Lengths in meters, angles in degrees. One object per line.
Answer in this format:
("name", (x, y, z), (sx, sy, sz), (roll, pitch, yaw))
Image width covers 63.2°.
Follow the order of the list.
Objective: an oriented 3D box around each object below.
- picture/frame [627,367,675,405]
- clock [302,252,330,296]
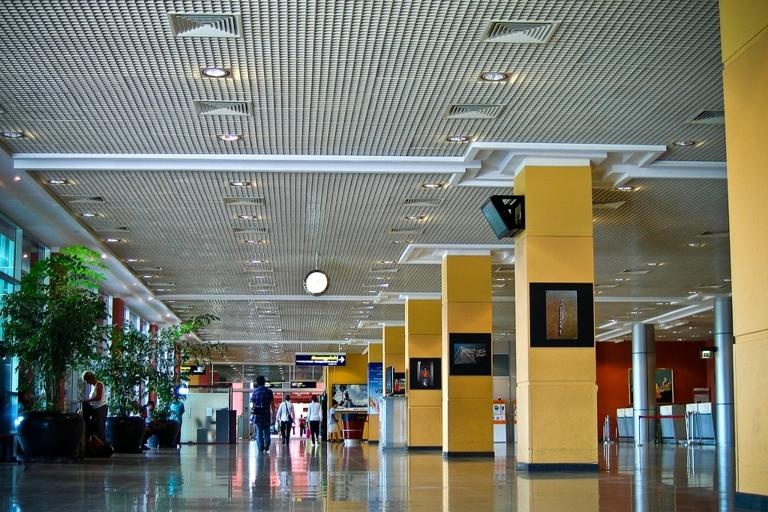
("picture/frame", (15.598, 7.753, 37.100), (3.631, 2.085, 1.301), (9, -19, -32))
("clock", (-2.045, 0.695, 18.930), (0.650, 0.947, 1.104), (2, -16, -10))
